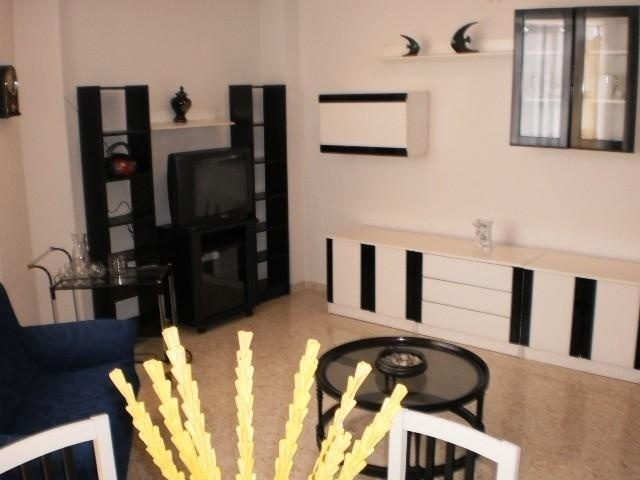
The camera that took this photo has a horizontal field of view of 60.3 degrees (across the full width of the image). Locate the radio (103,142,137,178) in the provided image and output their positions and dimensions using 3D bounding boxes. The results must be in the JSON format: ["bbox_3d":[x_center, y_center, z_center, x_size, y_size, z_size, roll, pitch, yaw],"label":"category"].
[{"bbox_3d":[-1.752,-0.692,4.810,0.190,0.337,0.331,13,15,22],"label":"radio"}]

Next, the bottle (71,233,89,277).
[{"bbox_3d":[-1.869,0.117,4.278,0.125,0.333,0.162,-8,15,-25],"label":"bottle"}]

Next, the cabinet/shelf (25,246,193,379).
[{"bbox_3d":[-1.724,0.428,4.592,0.891,1.055,0.525,-7,26,-9],"label":"cabinet/shelf"}]

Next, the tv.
[{"bbox_3d":[-1.098,-0.529,5.401,0.477,0.706,0.881,15,22,41],"label":"tv"}]

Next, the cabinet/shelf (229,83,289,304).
[{"bbox_3d":[-0.447,-0.570,6.093,0.408,2.278,0.532,-23,25,-28],"label":"cabinet/shelf"}]
